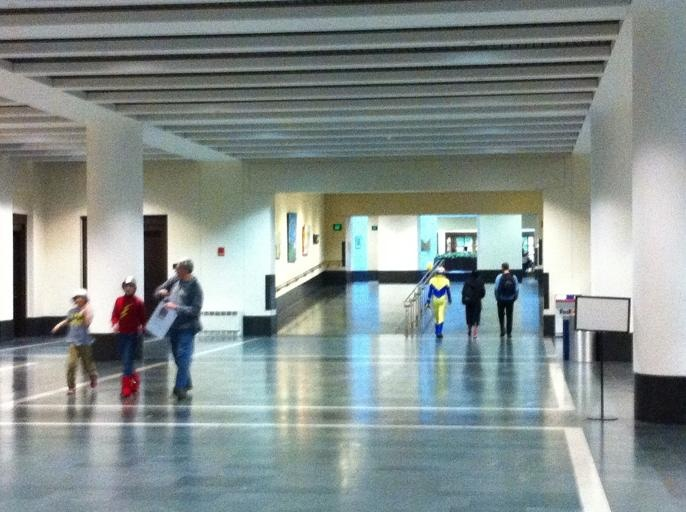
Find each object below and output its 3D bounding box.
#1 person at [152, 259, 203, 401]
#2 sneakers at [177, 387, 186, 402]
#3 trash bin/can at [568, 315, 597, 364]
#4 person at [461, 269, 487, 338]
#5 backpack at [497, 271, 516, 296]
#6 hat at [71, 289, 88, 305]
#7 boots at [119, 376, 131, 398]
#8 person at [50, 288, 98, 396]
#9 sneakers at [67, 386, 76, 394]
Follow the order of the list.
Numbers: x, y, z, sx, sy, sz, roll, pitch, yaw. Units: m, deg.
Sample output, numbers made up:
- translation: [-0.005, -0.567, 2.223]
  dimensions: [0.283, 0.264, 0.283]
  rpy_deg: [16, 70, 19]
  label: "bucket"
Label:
- translation: [-2.296, 1.035, 9.719]
  dimensions: [0.535, 1.386, 0.553]
  rpy_deg: [0, 1, -42]
  label: "person"
- translation: [-2.280, 1.942, 9.853]
  dimensions: [0.132, 0.146, 0.132]
  rpy_deg: [9, 14, 34]
  label: "sneakers"
- translation: [4.380, 1.551, 12.729]
  dimensions: [0.450, 0.787, 0.369]
  rpy_deg: [1, 1, 19]
  label: "trash bin/can"
- translation: [3.193, 1.081, 17.170]
  dimensions: [0.476, 1.627, 0.523]
  rpy_deg: [4, 17, 12]
  label: "person"
- translation: [3.866, 0.673, 16.500]
  dimensions: [0.427, 0.745, 0.357]
  rpy_deg: [4, 7, 8]
  label: "backpack"
- translation: [-3.891, 0.565, 10.286]
  dimensions: [0.177, 0.265, 0.223]
  rpy_deg: [-15, -16, 25]
  label: "hat"
- translation: [-3.154, 1.884, 10.122]
  dimensions: [0.129, 0.199, 0.167]
  rpy_deg: [1, 1, -18]
  label: "boots"
- translation: [-3.918, 1.257, 10.302]
  dimensions: [0.529, 1.514, 0.485]
  rpy_deg: [0, 0, -30]
  label: "person"
- translation: [-4.050, 1.988, 10.392]
  dimensions: [0.056, 0.079, 0.183]
  rpy_deg: [0, -11, -6]
  label: "sneakers"
